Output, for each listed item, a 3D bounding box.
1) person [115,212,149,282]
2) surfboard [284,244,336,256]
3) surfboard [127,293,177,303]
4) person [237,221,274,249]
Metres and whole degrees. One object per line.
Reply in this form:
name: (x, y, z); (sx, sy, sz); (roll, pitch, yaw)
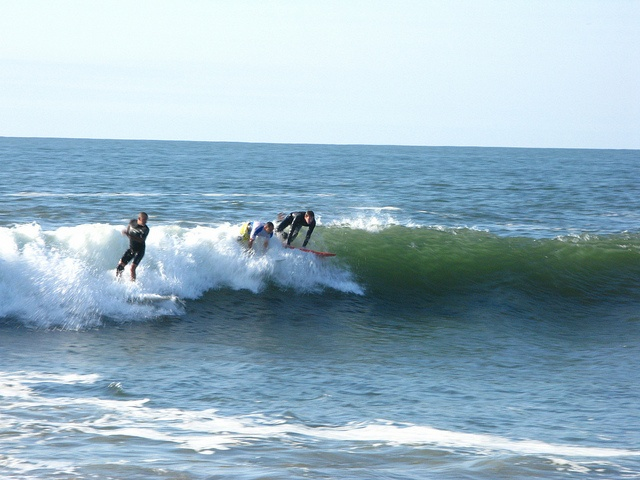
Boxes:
person: (-3.902, 0.143, 16.735); (0.598, 1.508, 0.689); (1, 13, -13)
surfboard: (-0.282, 0.276, 19.908); (1.298, 0.110, 0.116); (8, 24, -19)
surfboard: (-3.485, 1.246, 16.936); (1.174, 0.154, 0.221); (4, 50, -34)
person: (-1.510, -0.103, 18.986); (0.766, 0.711, 0.778); (2, 11, -8)
